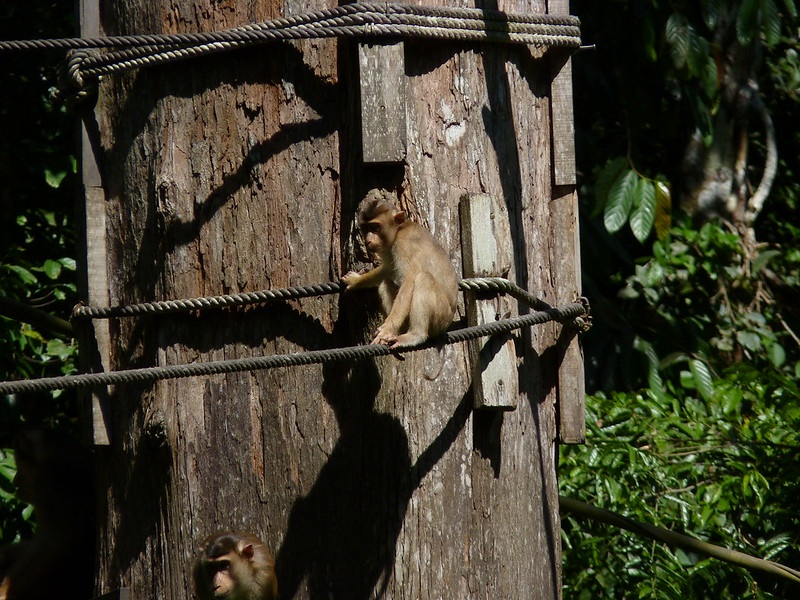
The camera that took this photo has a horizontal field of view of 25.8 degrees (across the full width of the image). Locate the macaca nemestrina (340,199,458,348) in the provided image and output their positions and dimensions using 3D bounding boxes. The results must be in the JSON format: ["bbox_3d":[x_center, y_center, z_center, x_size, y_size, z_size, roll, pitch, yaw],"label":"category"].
[{"bbox_3d":[0.020,-0.181,11.073,0.581,0.971,0.506,-4,6,-19],"label":"macaca nemestrina"}]
